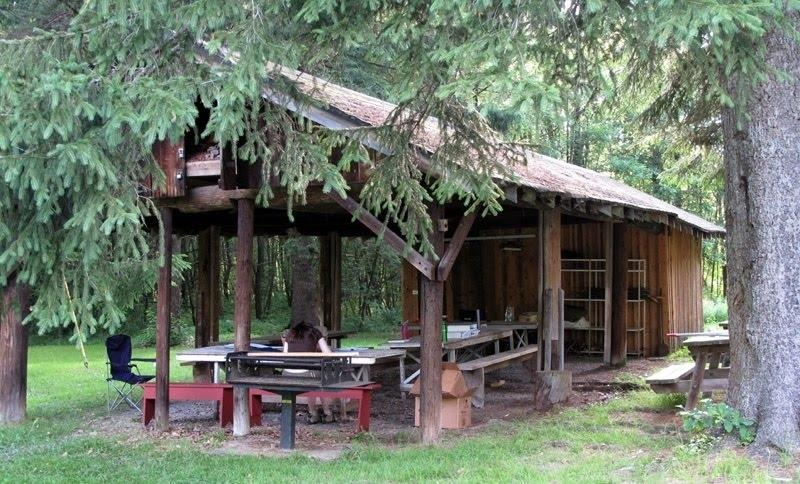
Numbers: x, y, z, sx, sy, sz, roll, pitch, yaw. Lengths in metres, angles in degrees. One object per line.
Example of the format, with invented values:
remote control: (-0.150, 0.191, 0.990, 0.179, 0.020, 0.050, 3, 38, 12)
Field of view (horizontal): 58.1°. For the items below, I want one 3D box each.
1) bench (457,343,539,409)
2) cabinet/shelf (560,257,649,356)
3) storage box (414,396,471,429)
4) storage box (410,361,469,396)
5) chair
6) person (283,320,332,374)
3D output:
bench: (1.818, 2.629, 13.797, 0.847, 0.940, 2.689, -1, 1, 32)
cabinet/shelf: (5.220, 1.622, 18.118, 2.400, 2.690, 0.832, 0, -6, -3)
storage box: (0.707, 2.797, 11.752, 0.632, 0.691, 0.415, -2, -4, 8)
storage box: (0.824, 2.358, 12.071, 0.659, 0.471, 0.685, -1, -8, 18)
chair: (-5.179, 2.571, 14.136, 1.016, 1.471, 1.016, 2, 4, 42)
person: (-1.588, 1.841, 12.385, 1.014, 0.908, 0.579, 0, 3, 15)
